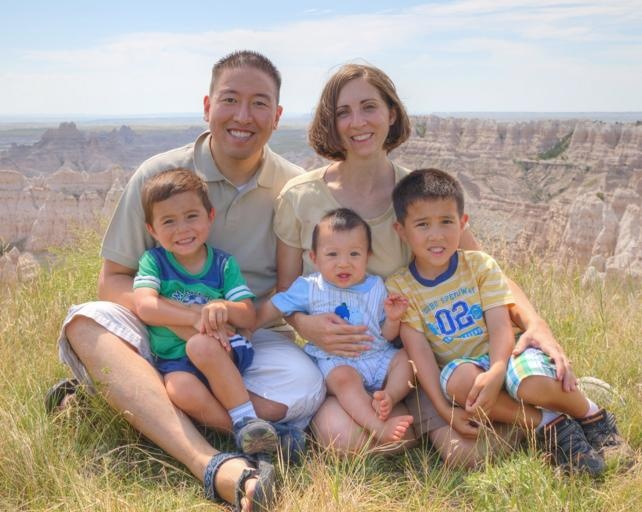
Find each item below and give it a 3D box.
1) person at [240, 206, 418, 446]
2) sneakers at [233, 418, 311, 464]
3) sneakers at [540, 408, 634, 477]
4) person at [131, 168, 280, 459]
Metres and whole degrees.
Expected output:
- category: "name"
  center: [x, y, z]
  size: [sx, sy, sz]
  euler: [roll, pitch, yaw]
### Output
- category: "person"
  center: [0.188, 0.391, 3.556]
  size: [1.248, 1.399, 0.719]
  euler: [-1, 5, 44]
- category: "sneakers"
  center: [-0.264, 1.076, 3.064]
  size: [0.436, 0.262, 0.222]
  euler: [17, -9, -20]
- category: "sneakers"
  center: [1.486, 1.075, 2.995]
  size: [0.293, 0.216, 0.436]
  euler: [-47, 30, -6]
- category: "person"
  center: [-0.748, 0.309, 3.316]
  size: [0.687, 1.636, 1.277]
  euler: [-10, 16, -34]
